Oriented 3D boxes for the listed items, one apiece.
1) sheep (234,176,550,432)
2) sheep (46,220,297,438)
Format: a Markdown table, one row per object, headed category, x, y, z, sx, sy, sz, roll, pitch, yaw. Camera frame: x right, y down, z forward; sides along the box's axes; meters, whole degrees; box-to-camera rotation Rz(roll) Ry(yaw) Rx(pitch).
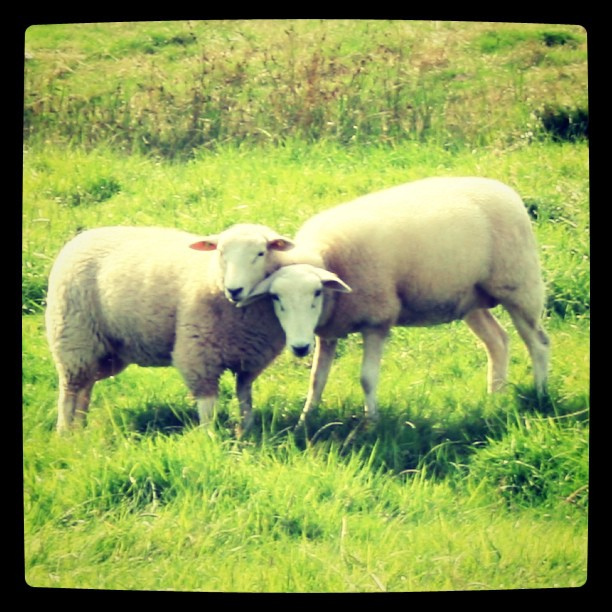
| category | x | y | z | sx | sy | sz | roll | pitch | yaw |
| --- | --- | --- | --- | --- | --- | --- | --- | --- | --- |
| sheep | 0.514 | -0.022 | 5.670 | 1.886 | 1.301 | 0.838 | -7 | 8 | -29 |
| sheep | -0.662 | 0.129 | 5.519 | 1.562 | 1.239 | 0.693 | 3 | 14 | 28 |
